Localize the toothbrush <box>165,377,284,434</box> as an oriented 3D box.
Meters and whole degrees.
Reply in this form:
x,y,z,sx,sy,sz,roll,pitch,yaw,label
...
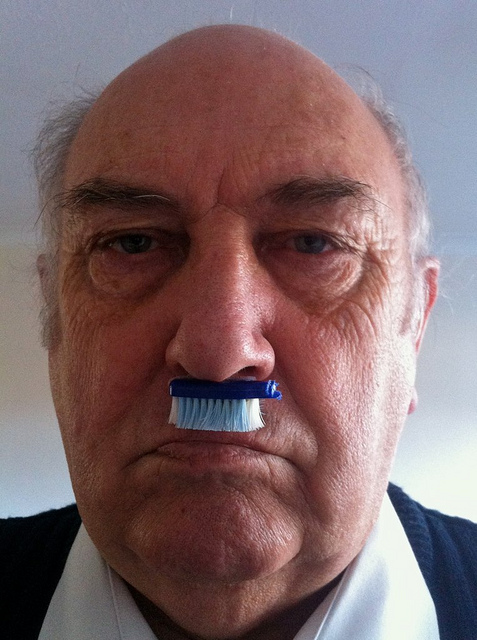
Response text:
x,y,z,sx,sy,sz,roll,pitch,yaw,label
-0.037,0.186,1.781,0.258,0.124,0.069,-5,0,1,toothbrush
